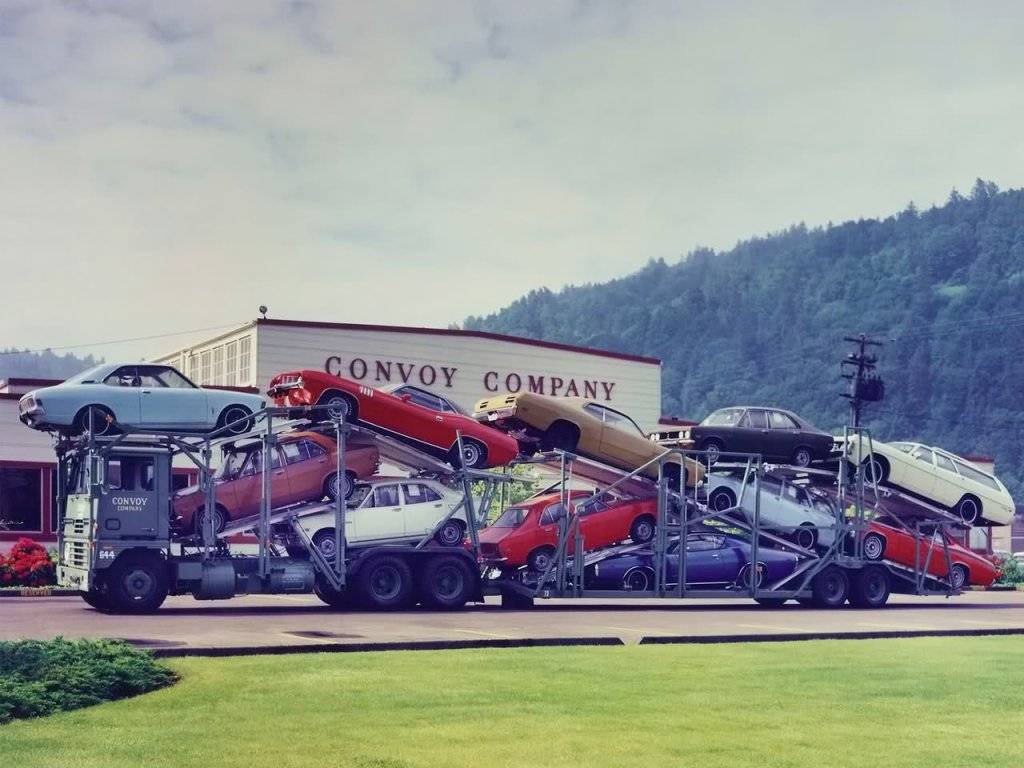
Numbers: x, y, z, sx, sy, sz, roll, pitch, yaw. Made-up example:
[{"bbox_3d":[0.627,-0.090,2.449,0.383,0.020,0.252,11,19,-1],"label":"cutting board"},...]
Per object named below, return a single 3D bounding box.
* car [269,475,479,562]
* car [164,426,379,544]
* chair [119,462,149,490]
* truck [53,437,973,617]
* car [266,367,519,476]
[{"bbox_3d":[-2.546,2.693,37.855,2.987,1.244,1.592,1,-7,-18],"label":"car"},{"bbox_3d":[-4.745,2.011,37.255,3.628,1.240,1.587,-9,-6,-21],"label":"car"},{"bbox_3d":[-6.896,1.720,35.337,0.555,0.465,0.236,2,4,-13],"label":"chair"},{"bbox_3d":[0.915,3.032,39.556,20.079,3.673,2.262,1,5,-24],"label":"truck"},{"bbox_3d":[-2.328,0.732,38.211,4.737,1.283,1.925,24,-5,-24],"label":"car"}]
